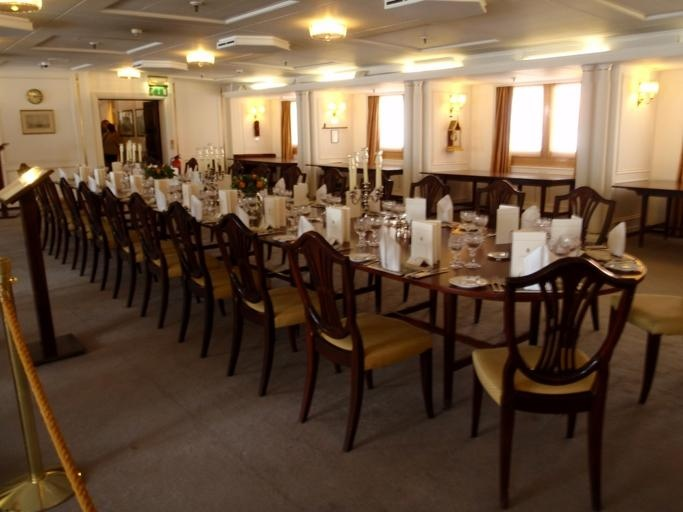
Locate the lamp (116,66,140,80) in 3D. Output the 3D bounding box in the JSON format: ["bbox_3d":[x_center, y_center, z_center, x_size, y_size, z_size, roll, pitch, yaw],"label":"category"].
[{"bbox_3d":[-4.571,-4.012,10.728,0.396,0.218,0.514,-5,15,-11],"label":"lamp"}]

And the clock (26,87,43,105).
[{"bbox_3d":[-6.771,-3.550,10.967,0.067,0.356,0.327,11,20,40],"label":"clock"}]

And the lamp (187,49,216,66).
[{"bbox_3d":[-2.371,-3.385,8.387,0.415,0.239,0.620,-7,15,-16],"label":"lamp"}]

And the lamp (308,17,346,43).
[{"bbox_3d":[-0.195,-2.921,6.370,0.473,0.209,0.451,3,15,18],"label":"lamp"}]

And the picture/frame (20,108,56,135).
[{"bbox_3d":[-6.768,-3.016,11.010,0.051,0.484,0.687,8,13,41],"label":"picture/frame"}]

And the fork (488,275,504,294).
[{"bbox_3d":[0.856,0.161,2.761,0.053,0.040,0.287,1,7,14],"label":"fork"}]

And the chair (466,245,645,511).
[{"bbox_3d":[1.029,0.558,2.455,0.721,1.232,0.646,1,16,11],"label":"chair"}]

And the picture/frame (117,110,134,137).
[{"bbox_3d":[-6.565,-4.044,15.084,0.277,0.787,1.434,-12,17,-29],"label":"picture/frame"}]
